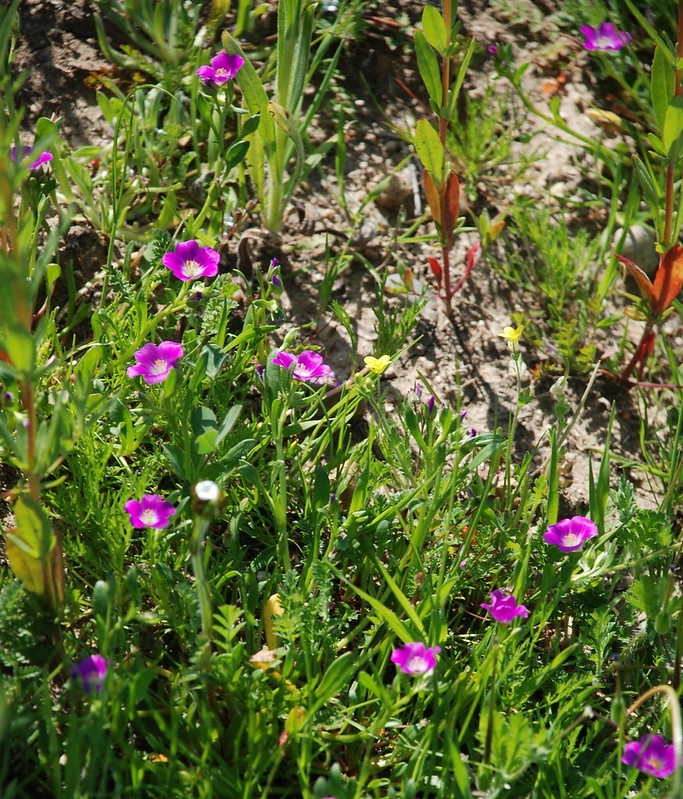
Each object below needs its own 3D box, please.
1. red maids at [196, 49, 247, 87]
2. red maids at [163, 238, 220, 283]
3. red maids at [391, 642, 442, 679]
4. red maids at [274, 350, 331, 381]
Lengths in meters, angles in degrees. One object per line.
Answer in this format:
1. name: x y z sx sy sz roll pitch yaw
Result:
1. red maids: -0.311 -0.860 2.198 0.109 0.058 0.127 -7 56 25
2. red maids: -0.340 -0.309 1.911 0.107 0.051 0.105 6 67 -9
3. red maids: 0.117 0.436 1.409 0.063 0.026 0.063 -4 37 11
4. red maids: -0.088 -0.077 1.862 0.086 0.041 0.084 -2 46 -44
